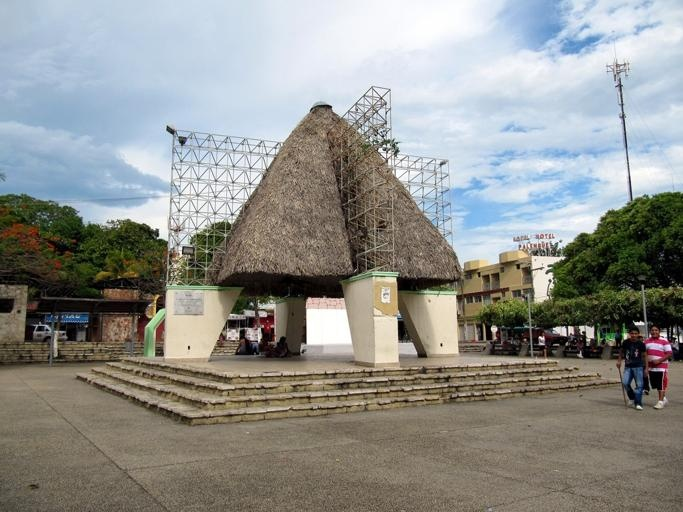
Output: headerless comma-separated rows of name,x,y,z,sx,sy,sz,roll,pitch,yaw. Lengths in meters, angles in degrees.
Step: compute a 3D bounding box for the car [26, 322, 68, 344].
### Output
car,-21.491,5.588,33.944,2.300,1.508,8.668,7,-13,-40
